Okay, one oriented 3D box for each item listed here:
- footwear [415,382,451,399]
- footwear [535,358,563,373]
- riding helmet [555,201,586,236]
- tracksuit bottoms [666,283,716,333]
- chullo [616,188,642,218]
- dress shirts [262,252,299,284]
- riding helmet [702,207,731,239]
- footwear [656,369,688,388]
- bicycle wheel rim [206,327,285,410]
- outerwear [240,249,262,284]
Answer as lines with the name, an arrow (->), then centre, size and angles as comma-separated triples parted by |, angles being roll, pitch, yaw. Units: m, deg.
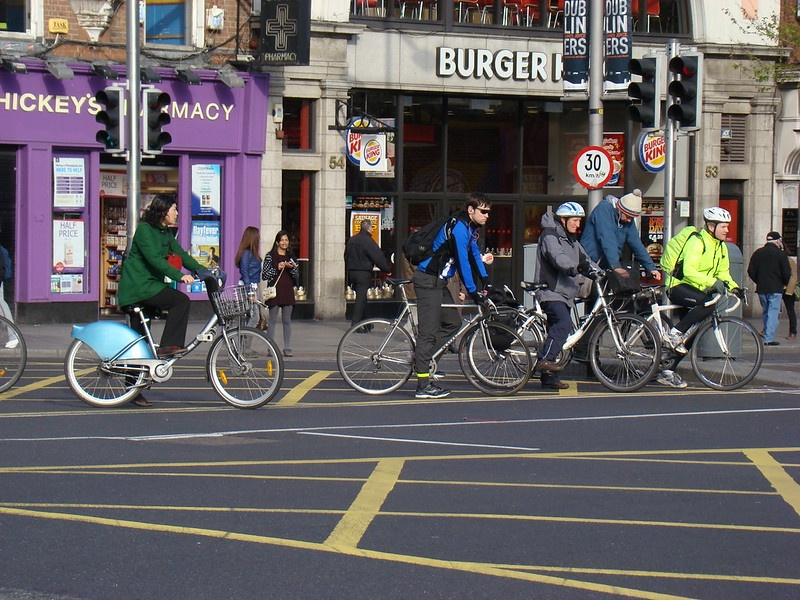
footwear -> 0.362, 1.040, 12.758 | 0.400, 0.210, 0.168 | -1, 3, -7
footwear -> 1.718, 0.798, 13.123 | 0.321, 0.161, 0.126 | 4, -18, -8
riding helmet -> 2.017, -0.967, 13.383 | 0.460, 0.485, 0.393 | 6, 10, 44
tracksuit bottoms -> 3.539, 0.071, 13.854 | 0.488, 0.682, 0.544 | 13, 0, 3
chullo -> 2.845, -1.190, 14.096 | 0.281, 0.339, 0.466 | 1, 5, 13
dress shirts -> -1.759, -0.457, 16.710 | 0.648, 0.680, 0.374 | 1, 2, -27
riding helmet -> 3.909, -0.924, 13.882 | 0.315, 0.410, 0.377 | -1, -1, -42
footwear -> 3.269, 0.996, 13.749 | 0.417, 0.213, 0.168 | 11, 13, 37
bicycle wheel rim -> -1.602, 0.749, 11.826 | 0.854, 0.878, 0.300 | 3, 5, 28
outerwear -> -2.157, -0.457, 16.282 | 0.202, 0.420, 0.422 | 0, 12, -2
